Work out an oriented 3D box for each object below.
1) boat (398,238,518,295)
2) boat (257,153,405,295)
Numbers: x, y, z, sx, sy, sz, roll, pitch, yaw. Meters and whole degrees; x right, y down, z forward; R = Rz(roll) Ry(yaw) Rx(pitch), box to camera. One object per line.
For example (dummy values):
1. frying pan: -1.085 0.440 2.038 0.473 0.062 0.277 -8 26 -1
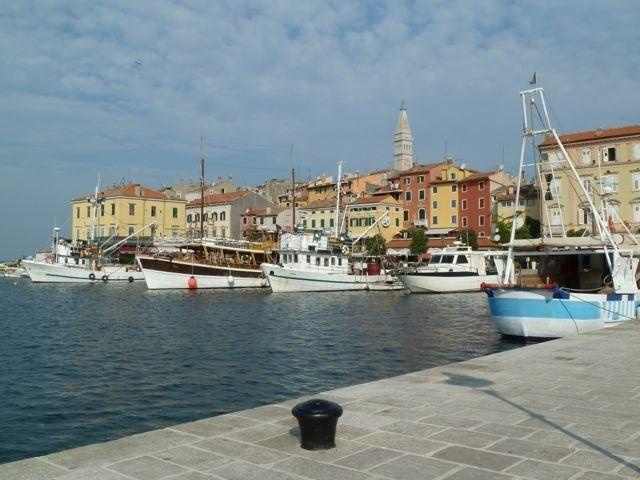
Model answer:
1. boat: 10.889 2.708 50.927 11.003 3.619 4.136 -2 2 -25
2. boat: -2.156 1.761 60.505 16.961 13.133 11.174 -1 1 -29
